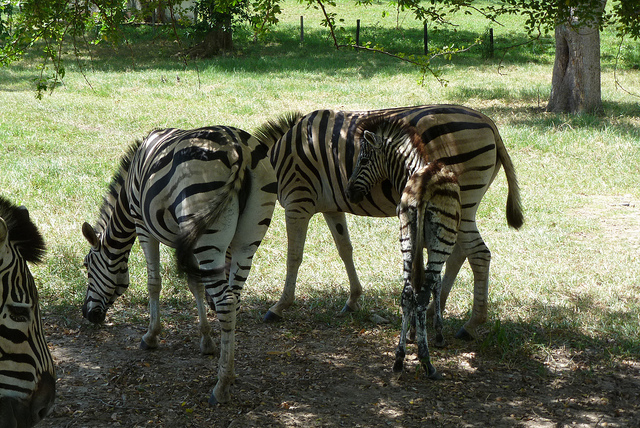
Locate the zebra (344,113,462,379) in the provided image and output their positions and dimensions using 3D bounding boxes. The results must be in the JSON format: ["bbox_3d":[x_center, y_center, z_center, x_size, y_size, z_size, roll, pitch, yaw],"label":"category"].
[{"bbox_3d":[1.403,0.466,12.525,1.059,3.592,1.689,-8,17,-29],"label":"zebra"}]

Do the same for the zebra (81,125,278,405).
[{"bbox_3d":[-2.083,0.550,12.566,2.587,3.729,1.421,9,18,30],"label":"zebra"}]
